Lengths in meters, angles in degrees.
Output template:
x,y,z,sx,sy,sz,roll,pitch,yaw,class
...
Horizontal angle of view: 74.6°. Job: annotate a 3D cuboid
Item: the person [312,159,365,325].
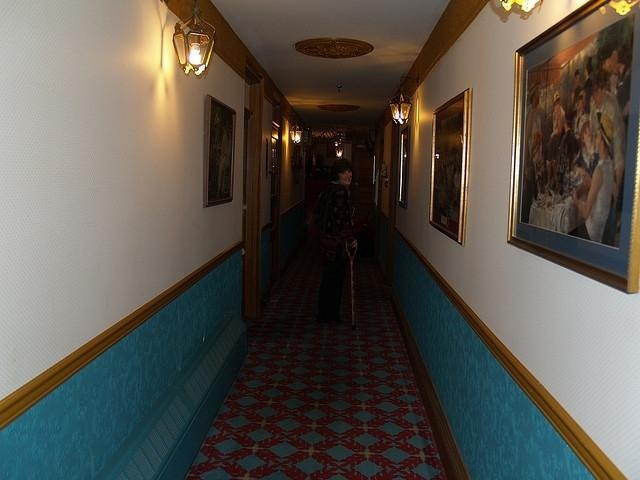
x,y,z,sx,sy,sz,roll,pitch,yaw,class
0.228,0.060,5.964,0.584,2.386,0.441,3,7,14,person
